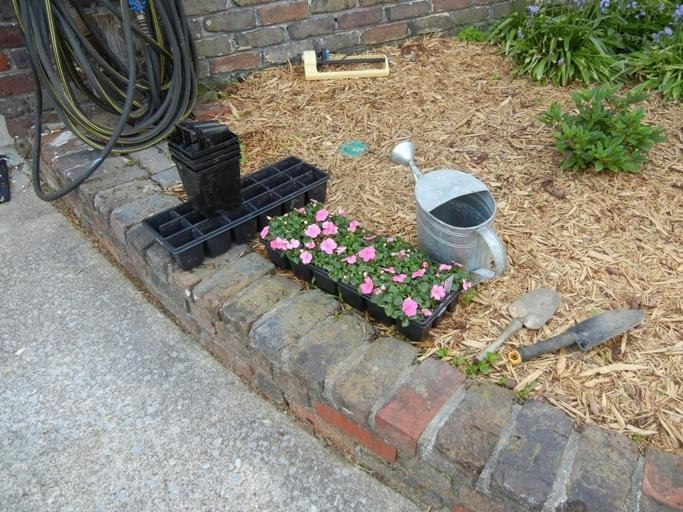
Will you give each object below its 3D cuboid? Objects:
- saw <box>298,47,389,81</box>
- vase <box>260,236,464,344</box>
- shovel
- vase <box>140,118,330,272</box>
[{"bbox_3d":[0.030,-1.366,3.720,0.621,0.126,0.346,-3,42,-2],"label":"saw"},{"bbox_3d":[0.048,0.120,2.406,0.891,0.167,0.263,21,47,23],"label":"vase"},{"bbox_3d":[0.907,0.278,2.286,0.779,0.103,0.329,-8,42,-7],"label":"shovel"},{"bbox_3d":[-0.553,-0.280,2.663,0.828,0.497,0.311,-33,59,-27],"label":"vase"}]
